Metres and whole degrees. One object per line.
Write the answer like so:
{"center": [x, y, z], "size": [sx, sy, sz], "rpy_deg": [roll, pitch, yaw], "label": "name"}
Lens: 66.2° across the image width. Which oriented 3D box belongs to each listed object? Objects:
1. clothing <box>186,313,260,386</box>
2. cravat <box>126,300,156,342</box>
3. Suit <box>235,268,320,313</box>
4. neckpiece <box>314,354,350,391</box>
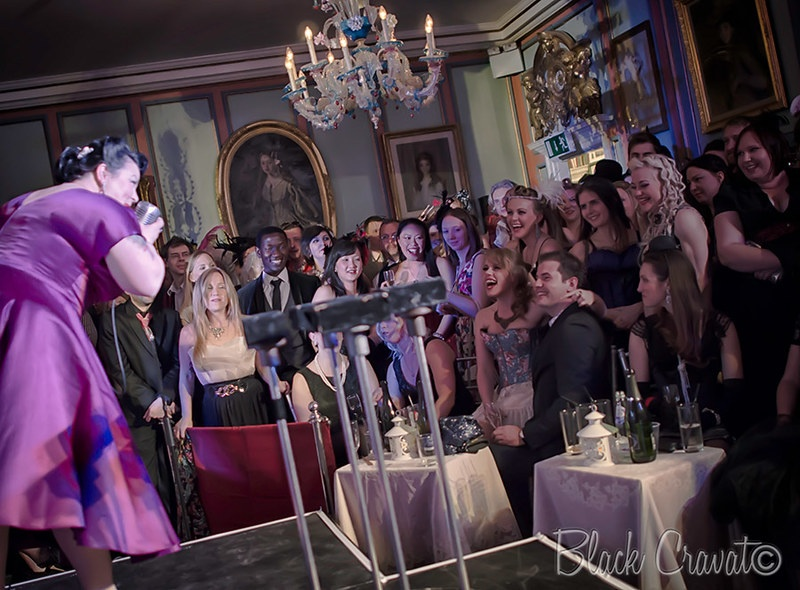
{"center": [-1.109, 0.349, 3.862], "size": [0.446, 0.466, 0.259], "rpy_deg": [-7, -1, 3], "label": "clothing"}
{"center": [-1.895, 0.209, 4.588], "size": [0.163, 0.288, 0.075], "rpy_deg": [-6, -23, -32], "label": "cravat"}
{"center": [-0.901, -0.030, 4.563], "size": [0.325, 0.198, 0.091], "rpy_deg": [-15, -11, 5], "label": "Suit"}
{"center": [-0.421, 0.466, 3.749], "size": [0.168, 0.246, 0.055], "rpy_deg": [11, -45, -27], "label": "neckpiece"}
